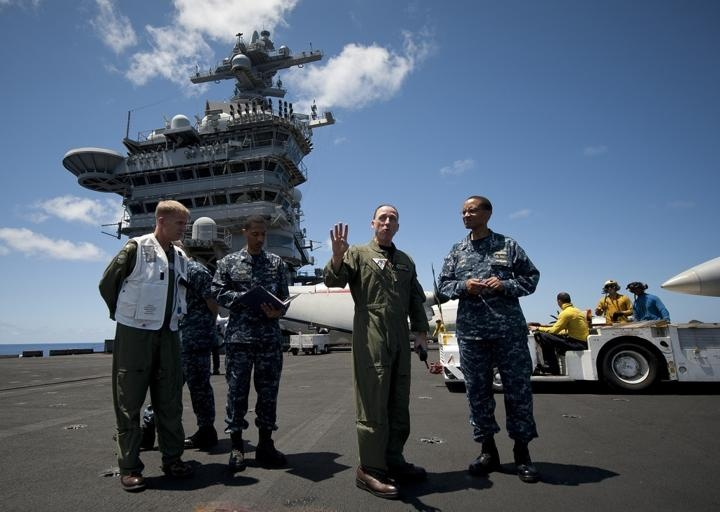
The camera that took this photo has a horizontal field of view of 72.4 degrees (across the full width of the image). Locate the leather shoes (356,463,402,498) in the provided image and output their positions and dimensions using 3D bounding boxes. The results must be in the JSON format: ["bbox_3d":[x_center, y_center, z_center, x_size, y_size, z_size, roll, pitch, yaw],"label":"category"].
[{"bbox_3d":[0.173,2.279,5.004,0.436,0.259,0.237,-1,-7,1],"label":"leather shoes"}]

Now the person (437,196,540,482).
[{"bbox_3d":[1.466,0.822,5.608,1.207,3.057,0.996,-4,-11,14],"label":"person"}]

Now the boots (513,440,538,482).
[{"bbox_3d":[1.800,2.189,5.328,0.235,0.384,0.306,-2,-7,6],"label":"boots"}]

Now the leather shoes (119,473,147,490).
[{"bbox_3d":[-2.330,2.316,5.053,0.265,0.103,0.115,-20,-25,38],"label":"leather shoes"}]

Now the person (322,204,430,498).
[{"bbox_3d":[0.211,0.926,5.257,1.016,2.992,0.888,-2,-7,7],"label":"person"}]

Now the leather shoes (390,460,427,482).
[{"bbox_3d":[0.465,2.323,5.325,0.491,0.171,0.156,0,-11,-2],"label":"leather shoes"}]

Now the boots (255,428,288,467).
[{"bbox_3d":[-1.043,2.226,5.753,0.453,0.397,0.211,-3,-12,33],"label":"boots"}]

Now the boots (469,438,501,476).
[{"bbox_3d":[1.388,2.213,5.494,0.435,0.380,0.175,9,-18,-37],"label":"boots"}]

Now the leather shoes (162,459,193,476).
[{"bbox_3d":[-1.993,2.314,5.423,0.371,0.157,0.147,-2,-13,12],"label":"leather shoes"}]

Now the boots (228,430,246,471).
[{"bbox_3d":[-1.418,2.200,5.651,0.190,0.392,0.432,1,-7,-14],"label":"boots"}]

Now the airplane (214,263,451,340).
[{"bbox_3d":[0.049,3.050,29.055,8.257,2.876,7.075,0,-1,-3],"label":"airplane"}]

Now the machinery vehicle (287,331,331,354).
[{"bbox_3d":[-2.576,4.715,26.539,1.293,0.849,1.913,-1,-3,16],"label":"machinery vehicle"}]

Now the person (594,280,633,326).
[{"bbox_3d":[5.864,1.184,11.368,0.853,1.123,0.739,-4,-9,29],"label":"person"}]

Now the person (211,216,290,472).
[{"bbox_3d":[-1.298,0.965,5.841,0.869,2.882,0.746,1,-7,-12],"label":"person"}]
